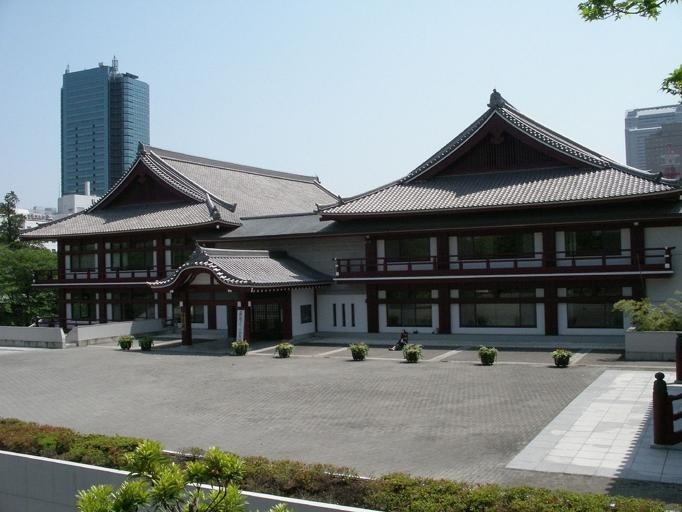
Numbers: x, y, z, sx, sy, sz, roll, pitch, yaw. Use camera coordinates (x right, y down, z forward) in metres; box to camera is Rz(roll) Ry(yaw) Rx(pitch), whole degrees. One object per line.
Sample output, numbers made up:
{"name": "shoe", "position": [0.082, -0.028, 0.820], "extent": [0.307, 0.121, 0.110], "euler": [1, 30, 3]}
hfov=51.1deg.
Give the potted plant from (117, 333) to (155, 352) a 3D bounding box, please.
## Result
{"name": "potted plant", "position": [-11.302, 4.739, 38.848], "extent": [1.779, 0.548, 1.057], "euler": [1, -9, -8]}
